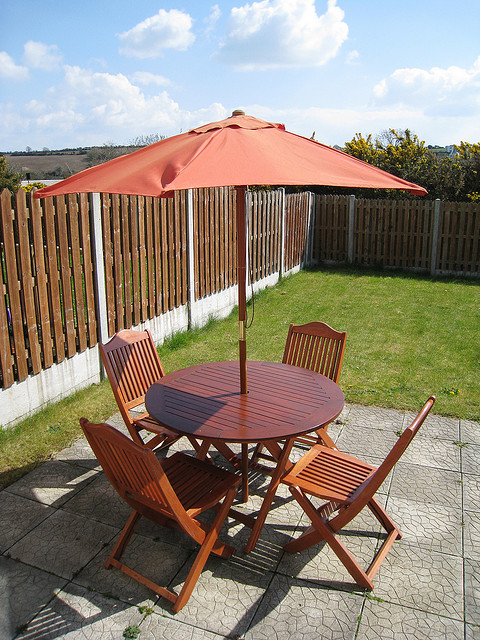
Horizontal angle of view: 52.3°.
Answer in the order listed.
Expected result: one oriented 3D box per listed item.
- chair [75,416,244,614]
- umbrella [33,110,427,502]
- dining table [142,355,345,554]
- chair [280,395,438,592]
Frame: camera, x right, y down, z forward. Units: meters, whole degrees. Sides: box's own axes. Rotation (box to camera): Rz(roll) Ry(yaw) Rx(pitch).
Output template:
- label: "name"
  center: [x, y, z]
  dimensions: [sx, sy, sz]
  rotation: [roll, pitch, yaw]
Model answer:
- label: "chair"
  center: [-0.398, 0.955, 2.709]
  dimensions: [0.666, 1.016, 0.839]
  rotation: [-1, 12, 11]
- label: "umbrella"
  center: [0.046, -0.097, 3.044]
  dimensions: [1.927, 1.904, 2.052]
  rotation: [3, 18, 22]
- label: "dining table"
  center: [0.063, 0.505, 3.141]
  dimensions: [1.247, 0.775, 1.171]
  rotation: [20, 32, 38]
- label: "chair"
  center: [0.655, 0.908, 2.858]
  dimensions: [0.748, 1.049, 0.792]
  rotation: [6, 14, 23]
